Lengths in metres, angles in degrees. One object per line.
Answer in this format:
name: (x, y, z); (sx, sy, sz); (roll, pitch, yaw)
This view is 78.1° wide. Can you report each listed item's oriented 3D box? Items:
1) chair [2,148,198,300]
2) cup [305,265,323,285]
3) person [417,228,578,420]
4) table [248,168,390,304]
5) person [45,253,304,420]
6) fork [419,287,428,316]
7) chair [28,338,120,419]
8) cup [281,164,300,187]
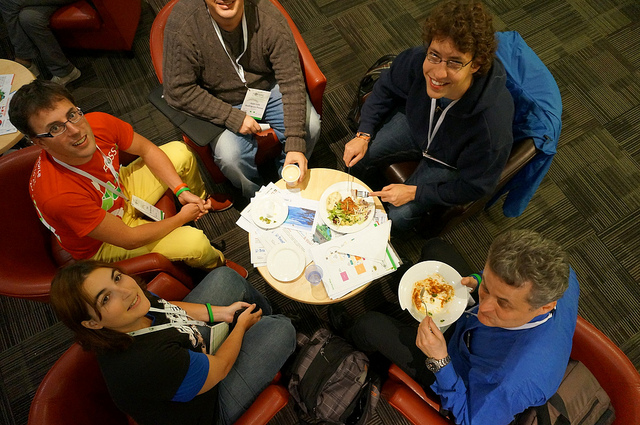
chair: (-1.573, 0.006, 2.992); (1.008, 1.120, 0.971); (-26, 77, 1)
cup: (-0.044, 0.426, 2.701); (0.106, 0.086, 0.131); (4, 79, 6)
person: (1.045, 0.711, 2.330); (0.485, 0.847, 0.715); (25, 79, 18)
table: (-0.035, 0.133, 2.832); (0.876, 0.439, 0.928); (20, 54, -5)
person: (-0.831, 0.794, 2.449); (1.392, 0.579, 0.899); (-2, 59, -20)
fork: (0.689, 0.589, 2.606); (0.030, 0.028, 0.172); (3, 81, -33)
chair: (-1.418, 1.062, 2.392); (0.435, 0.219, 0.409); (13, 55, -10)
cup: (-0.205, -0.278, 2.930); (0.116, 0.116, 0.162); (-18, 79, -2)
